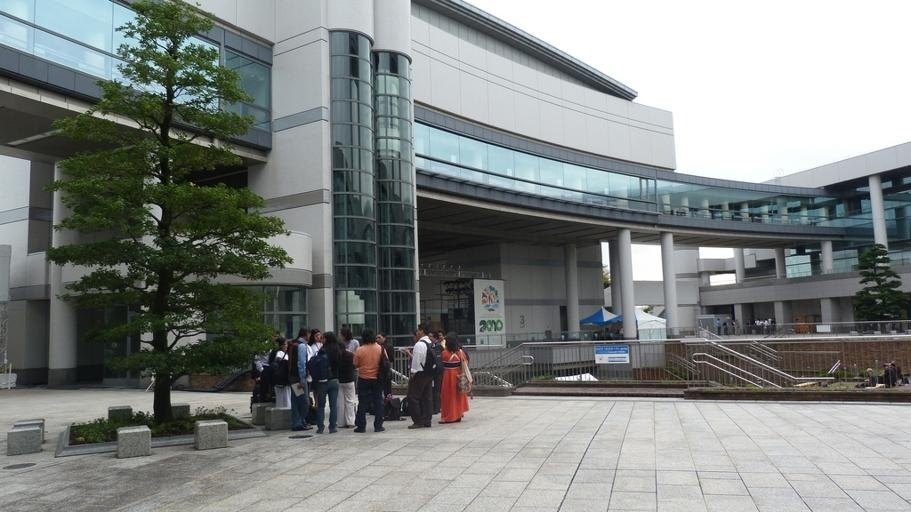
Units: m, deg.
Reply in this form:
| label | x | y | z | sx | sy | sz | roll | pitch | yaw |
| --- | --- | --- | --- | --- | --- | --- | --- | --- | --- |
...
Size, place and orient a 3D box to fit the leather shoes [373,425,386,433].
| label | x | y | z | sx | sy | sz | roll | pitch | yaw |
| --- | --- | --- | --- | --- | --- | --- | --- | --- | --- |
| leather shoes | -2.492 | 5.669 | 21.128 | 0.141 | 0.239 | 0.383 | -1 | 0 | 33 |

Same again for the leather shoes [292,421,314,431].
| label | x | y | z | sx | sy | sz | roll | pitch | yaw |
| --- | --- | --- | --- | --- | --- | --- | --- | --- | --- |
| leather shoes | -5.127 | 5.702 | 21.555 | 0.726 | 0.237 | 0.219 | 1 | -7 | -9 |

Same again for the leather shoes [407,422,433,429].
| label | x | y | z | sx | sy | sz | roll | pitch | yaw |
| --- | --- | --- | --- | --- | --- | --- | --- | --- | --- |
| leather shoes | -1.232 | 5.612 | 21.428 | 0.750 | 0.261 | 0.251 | 2 | -9 | -2 |

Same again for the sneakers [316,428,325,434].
| label | x | y | z | sx | sy | sz | roll | pitch | yaw |
| --- | --- | --- | --- | --- | --- | --- | --- | --- | --- |
| sneakers | -4.483 | 5.752 | 21.236 | 0.185 | 0.117 | 0.180 | -5 | -12 | 29 |

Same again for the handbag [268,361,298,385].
| label | x | y | z | sx | sy | sz | roll | pitch | yaw |
| --- | --- | --- | --- | --- | --- | --- | --- | --- | --- |
| handbag | -5.876 | 4.054 | 21.884 | 0.802 | 0.871 | 0.988 | 1 | 3 | -22 |
